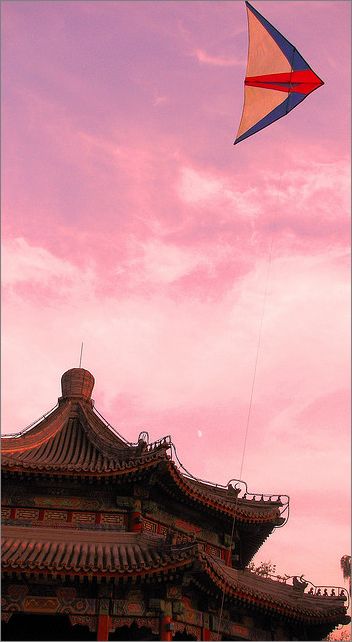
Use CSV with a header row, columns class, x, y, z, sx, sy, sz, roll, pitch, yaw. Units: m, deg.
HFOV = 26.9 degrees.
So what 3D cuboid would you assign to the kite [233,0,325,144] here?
class,x,y,z,sx,sy,sz,roll,pitch,yaw
kite,2.422,-5.774,17.676,1.753,2.690,2.054,10,-17,-13
